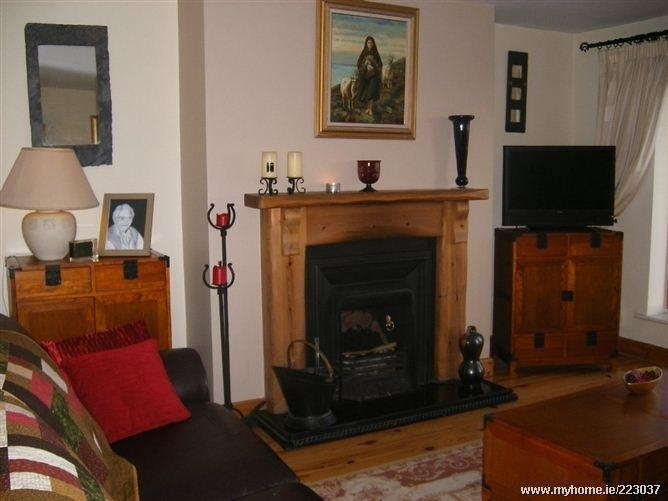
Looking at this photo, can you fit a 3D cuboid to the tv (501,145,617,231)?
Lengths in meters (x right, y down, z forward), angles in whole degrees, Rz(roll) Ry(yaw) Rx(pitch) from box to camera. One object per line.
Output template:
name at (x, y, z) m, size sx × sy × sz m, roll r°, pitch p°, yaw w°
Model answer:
tv at (1.805, -0.511, 4.561) m, size 0.646 × 0.494 × 0.126 m, roll -1°, pitch 3°, yaw -11°

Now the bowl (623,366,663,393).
bowl at (1.609, 0.676, 2.972) m, size 0.122 × 0.070 × 0.188 m, roll -3°, pitch 9°, yaw 45°

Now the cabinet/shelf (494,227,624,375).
cabinet/shelf at (1.798, 0.389, 4.512) m, size 1.053 × 1.297 × 0.503 m, roll -1°, pitch 6°, yaw -12°

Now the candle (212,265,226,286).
candle at (-0.691, 0.153, 3.402) m, size 0.106 × 0.117 × 0.077 m, roll -2°, pitch 9°, yaw 10°

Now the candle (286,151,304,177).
candle at (-0.241, -0.526, 3.527) m, size 0.082 × 0.154 × 0.031 m, roll -4°, pitch 9°, yaw -8°

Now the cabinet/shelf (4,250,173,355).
cabinet/shelf at (-1.424, 0.295, 3.277) m, size 0.553 × 0.539 × 0.211 m, roll -5°, pitch 10°, yaw -29°
